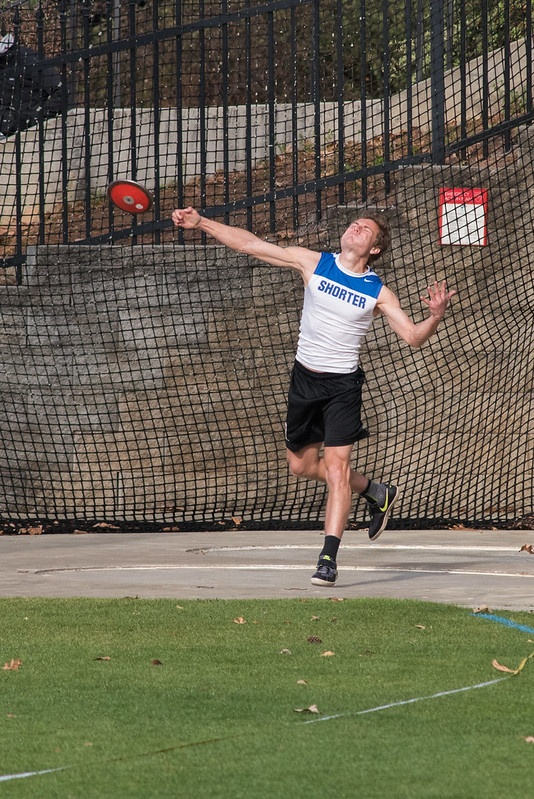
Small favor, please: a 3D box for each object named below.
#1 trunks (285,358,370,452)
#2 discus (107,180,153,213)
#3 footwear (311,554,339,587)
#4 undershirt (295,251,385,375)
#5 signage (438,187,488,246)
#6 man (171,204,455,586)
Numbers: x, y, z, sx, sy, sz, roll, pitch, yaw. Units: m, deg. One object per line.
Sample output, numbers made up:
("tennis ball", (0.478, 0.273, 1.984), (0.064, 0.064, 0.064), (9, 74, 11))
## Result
("trunks", (0.283, 0.043, 8.520), (0.452, 0.456, 0.272), (1, 4, 25))
("discus", (-0.743, -1.088, 9.339), (0.210, 0.171, 0.393), (-3, 6, -19))
("footwear", (0.267, 0.823, 8.033), (0.109, 0.163, 0.190), (0, 6, 14))
("undershirt", (0.347, -0.407, 8.419), (0.433, 0.580, 0.187), (-1, 6, 5))
("signage", (1.281, -1.190, 11.361), (0.375, 0.442, 0.051), (0, 6, 3))
("man", (0.270, -0.085, 8.339), (0.777, 1.678, 1.138), (-6, 7, -38))
